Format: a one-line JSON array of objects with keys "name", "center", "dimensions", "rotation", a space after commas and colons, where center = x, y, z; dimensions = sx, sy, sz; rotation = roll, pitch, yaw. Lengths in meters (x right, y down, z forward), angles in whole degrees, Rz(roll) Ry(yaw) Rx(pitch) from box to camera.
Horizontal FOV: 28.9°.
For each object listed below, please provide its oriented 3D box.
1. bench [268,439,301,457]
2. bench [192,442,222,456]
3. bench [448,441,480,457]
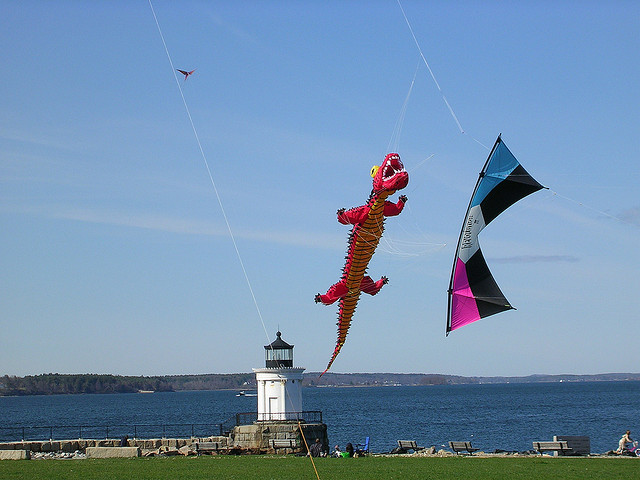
[{"name": "bench", "center": [-4.137, 23.122, 136.241], "dimensions": [3.567, 2.135, 1.125], "rotation": [0, -32, 4]}, {"name": "bench", "center": [-12.454, 22.797, 135.548], "dimensions": [3.158, 1.675, 2.253], "rotation": [2, -19, -7]}, {"name": "bench", "center": [15.355, 22.562, 133.744], "dimensions": [2.470, 1.578, 2.956], "rotation": [7, -20, -22]}]
